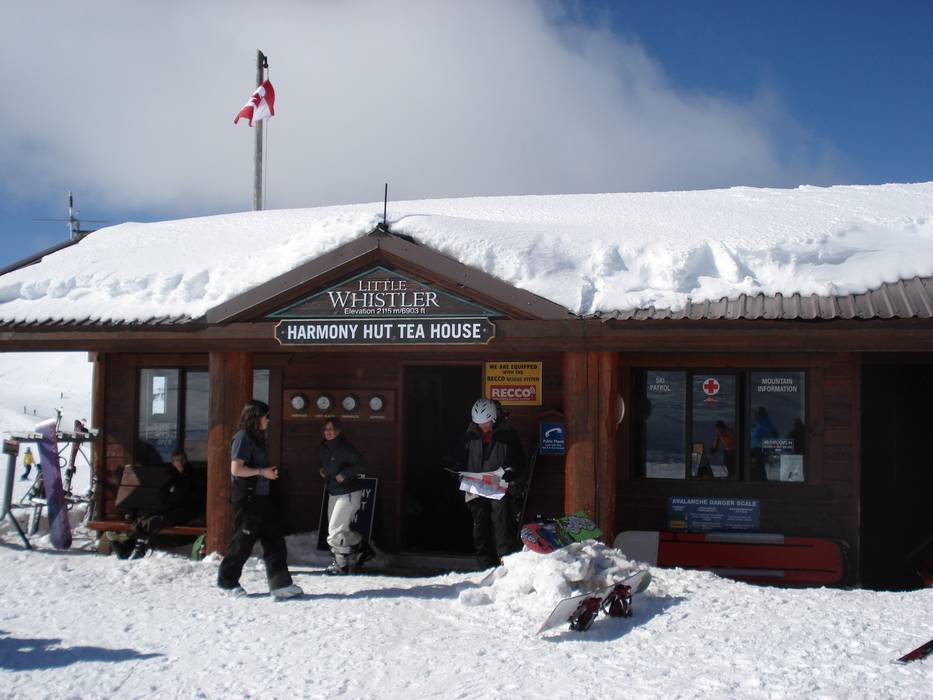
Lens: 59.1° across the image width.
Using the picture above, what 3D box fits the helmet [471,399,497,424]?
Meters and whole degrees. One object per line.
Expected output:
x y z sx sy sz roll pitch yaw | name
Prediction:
0.222 0.734 10.117 0.218 0.329 0.273 2 5 12 | helmet

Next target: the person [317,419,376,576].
-1.583 1.783 10.590 0.537 2.057 1.088 -2 6 -8 | person

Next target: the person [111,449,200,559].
-4.436 2.057 11.529 0.815 1.142 2.018 -2 7 7 | person

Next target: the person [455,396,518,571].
0.301 1.688 10.039 0.723 2.130 0.470 0 6 10 | person

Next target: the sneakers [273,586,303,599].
-1.953 2.627 8.924 0.321 0.150 0.123 8 -13 -32 | sneakers

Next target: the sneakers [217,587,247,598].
-2.553 2.637 8.995 0.165 0.071 0.138 2 -4 6 | sneakers

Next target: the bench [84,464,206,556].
-4.506 2.184 11.667 1.124 0.863 1.572 0 -5 3 | bench

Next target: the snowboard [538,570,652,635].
1.303 2.369 8.059 1.377 0.444 0.205 -14 19 -29 | snowboard

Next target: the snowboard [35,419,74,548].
-5.597 1.819 11.069 0.265 1.704 0.318 -16 -7 27 | snowboard

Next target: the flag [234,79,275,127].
-4.951 -5.849 19.256 0.972 0.490 1.374 0 -3 14 | flag

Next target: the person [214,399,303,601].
-2.287 1.618 8.946 0.839 2.127 0.549 2 7 30 | person

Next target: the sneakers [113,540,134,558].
-4.505 2.588 10.755 0.192 0.341 0.206 -7 -16 32 | sneakers
